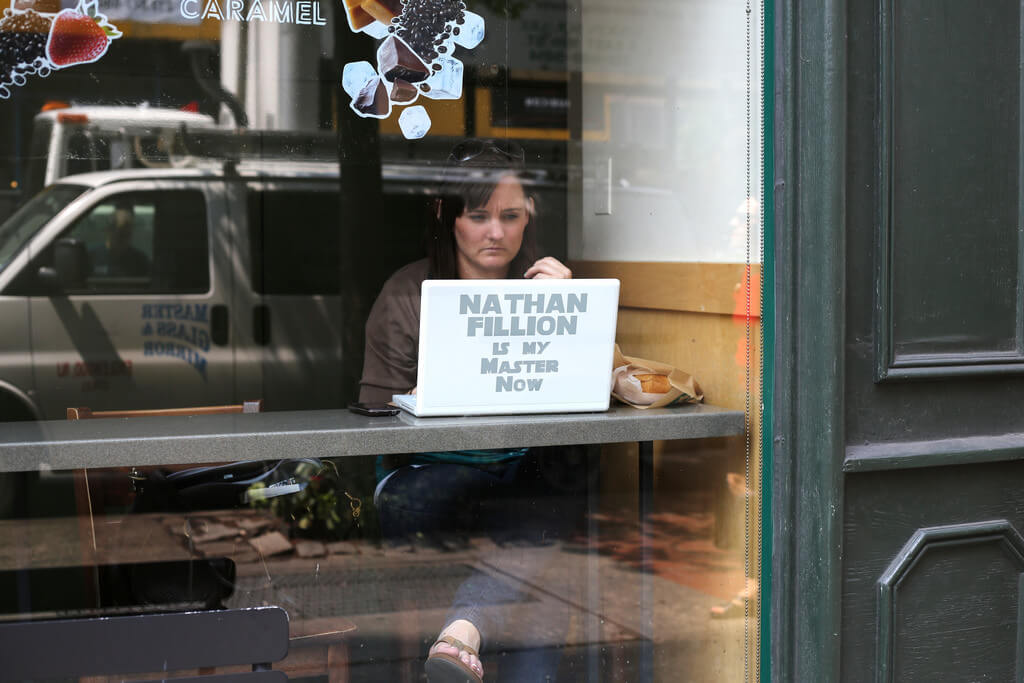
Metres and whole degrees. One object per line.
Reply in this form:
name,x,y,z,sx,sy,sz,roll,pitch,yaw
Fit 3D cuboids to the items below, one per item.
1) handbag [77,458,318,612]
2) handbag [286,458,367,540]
handbag,-0.877,0.492,2.905,0.388,0.211,0.556,-2,14,-8
handbag,-0.491,0.456,2.934,0.162,0.240,0.089,-6,-12,-10
